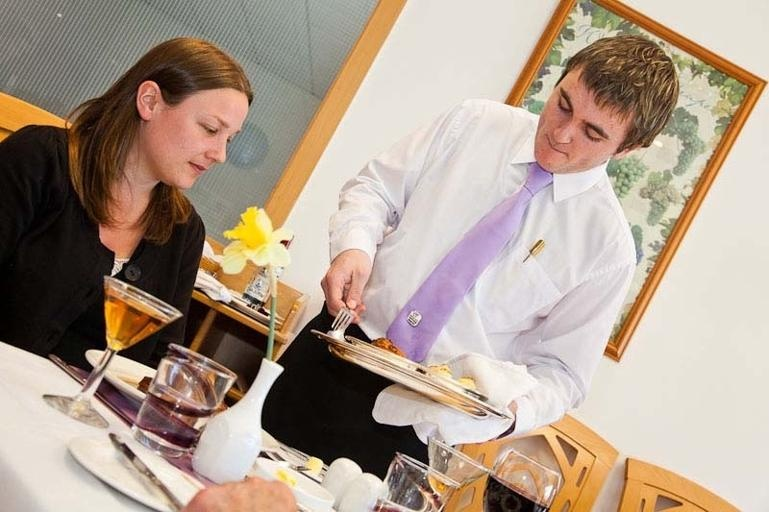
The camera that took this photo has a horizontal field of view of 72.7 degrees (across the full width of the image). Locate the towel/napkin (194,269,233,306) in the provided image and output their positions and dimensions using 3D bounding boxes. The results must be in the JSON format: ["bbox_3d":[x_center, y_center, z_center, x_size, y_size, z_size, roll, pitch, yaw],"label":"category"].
[{"bbox_3d":[-0.806,0.151,2.457,0.131,0.052,0.173,33,-3,25],"label":"towel/napkin"}]

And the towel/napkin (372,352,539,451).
[{"bbox_3d":[0.194,0.388,1.382,0.335,0.136,0.328,4,-2,45],"label":"towel/napkin"}]

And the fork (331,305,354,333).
[{"bbox_3d":[-0.107,0.168,1.315,0.034,0.079,0.106,26,-4,-4],"label":"fork"}]

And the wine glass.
[{"bbox_3d":[-0.527,0.189,1.004,0.183,0.212,0.173,12,-27,22],"label":"wine glass"}]

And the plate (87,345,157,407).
[{"bbox_3d":[-0.568,0.251,1.189,0.159,0.038,0.169,26,6,26],"label":"plate"}]

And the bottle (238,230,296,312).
[{"bbox_3d":[-0.619,0.121,2.652,0.114,0.389,0.090,12,-29,-12],"label":"bottle"}]

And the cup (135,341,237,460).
[{"bbox_3d":[-0.393,0.290,1.005,0.147,0.176,0.152,23,-16,7],"label":"cup"}]
